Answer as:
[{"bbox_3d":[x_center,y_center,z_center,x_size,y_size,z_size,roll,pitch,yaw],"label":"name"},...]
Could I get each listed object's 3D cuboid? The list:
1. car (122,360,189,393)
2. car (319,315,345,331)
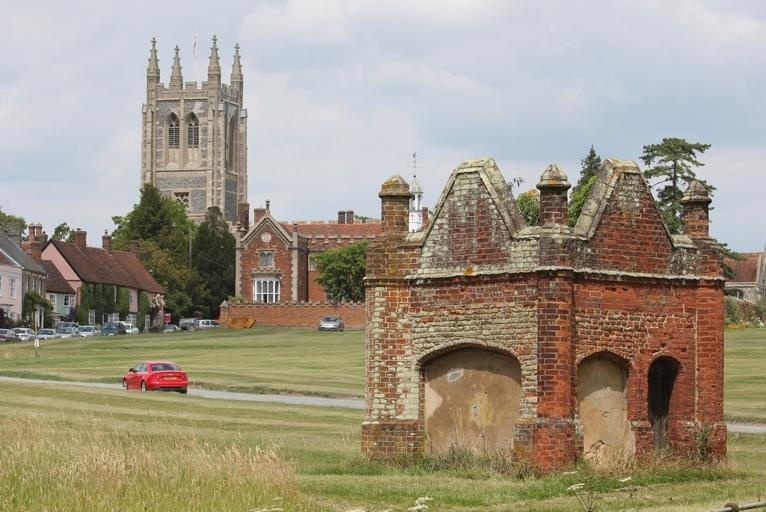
[{"bbox_3d":[-10.421,5.329,82.534,1.316,0.980,3.004,3,-1,-34],"label":"car"},{"bbox_3d":[-3.778,4.637,130.657,1.691,1.043,2.335,-4,3,-3],"label":"car"}]
